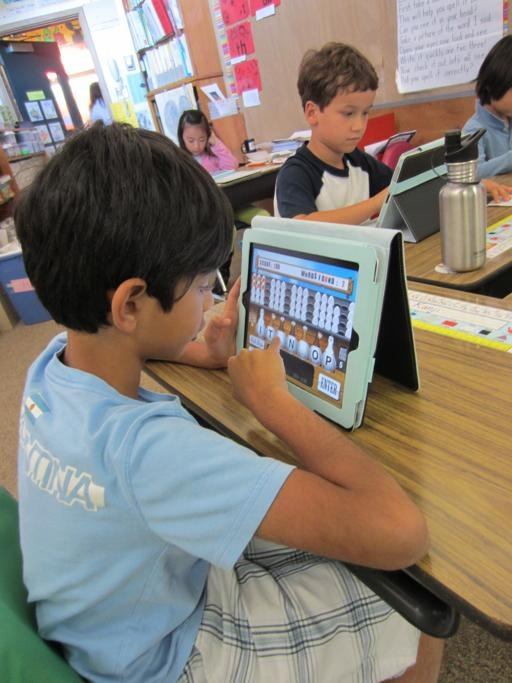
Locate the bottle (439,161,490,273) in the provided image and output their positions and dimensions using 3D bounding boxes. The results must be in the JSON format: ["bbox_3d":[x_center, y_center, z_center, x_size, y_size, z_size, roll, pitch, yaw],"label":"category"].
[{"bbox_3d":[0.417,-0.246,1.003,0.084,0.227,0.085,-11,27,5],"label":"bottle"}]

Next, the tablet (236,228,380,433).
[{"bbox_3d":[0.061,-0.035,0.729,0.022,0.278,0.285,-11,23,-34],"label":"tablet"}]
